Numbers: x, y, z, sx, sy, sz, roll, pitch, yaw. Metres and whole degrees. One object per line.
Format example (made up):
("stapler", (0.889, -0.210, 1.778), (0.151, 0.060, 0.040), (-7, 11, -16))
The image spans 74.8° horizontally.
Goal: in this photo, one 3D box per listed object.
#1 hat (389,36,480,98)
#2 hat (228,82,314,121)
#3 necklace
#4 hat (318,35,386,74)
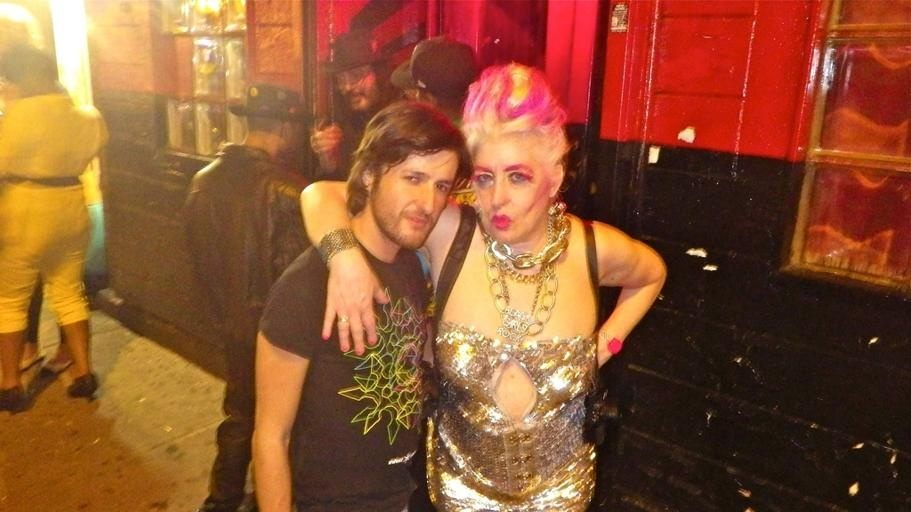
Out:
("hat", (-0.209, -1.570, 5.174), (0.737, 0.474, 0.357), (8, -16, -3))
("hat", (-1.799, -1.483, 6.011), (0.636, 0.229, 0.704), (4, 1, 0))
("necklace", (0.512, 0.130, 4.235), (0.581, 0.844, 0.160), (13, -4, -8))
("hat", (-1.073, -2.138, 6.211), (0.426, 0.181, 0.565), (17, 47, 40))
